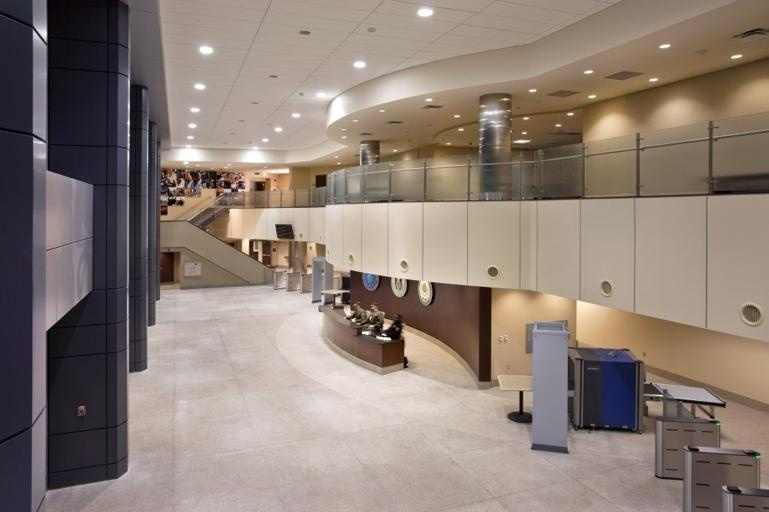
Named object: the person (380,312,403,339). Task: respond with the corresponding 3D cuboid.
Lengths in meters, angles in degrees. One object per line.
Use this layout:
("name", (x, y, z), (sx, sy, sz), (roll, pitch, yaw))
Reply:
("person", (0.295, 2.555, 18.717), (0.631, 0.878, 0.876), (1, 8, 0))

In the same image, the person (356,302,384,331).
("person", (-0.545, 2.365, 19.646), (0.822, 0.904, 1.813), (1, 0, -19))

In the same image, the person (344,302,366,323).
("person", (-1.263, 2.428, 22.249), (0.851, 1.416, 1.079), (1, -4, -8))

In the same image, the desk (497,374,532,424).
("desk", (3.615, 3.984, 14.534), (1.041, 0.827, 1.242), (-1, 2, 19))
